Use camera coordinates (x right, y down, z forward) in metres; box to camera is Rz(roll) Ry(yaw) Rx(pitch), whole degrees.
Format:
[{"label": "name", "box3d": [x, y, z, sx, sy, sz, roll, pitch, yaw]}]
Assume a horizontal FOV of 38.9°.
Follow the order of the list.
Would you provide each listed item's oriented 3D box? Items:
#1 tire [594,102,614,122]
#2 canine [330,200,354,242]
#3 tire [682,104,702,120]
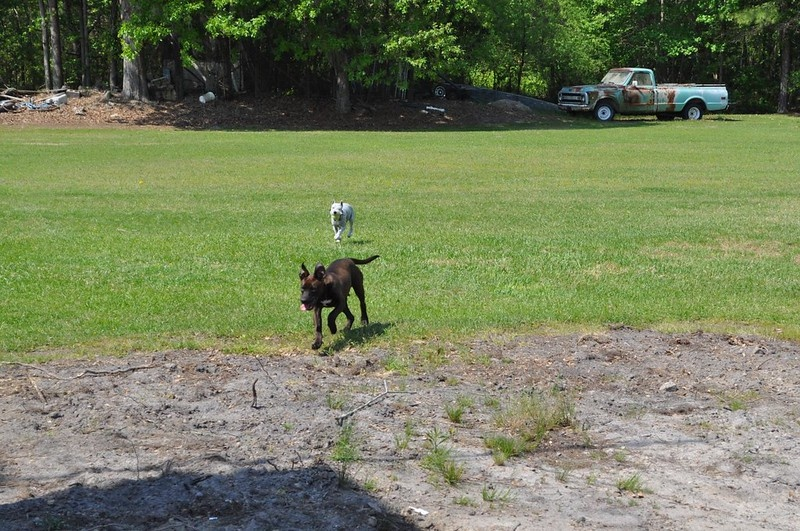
[{"label": "tire", "box3d": [11.277, -8.412, 61.914, 1.007, 0.936, 0.383, 4, 11, 12]}, {"label": "canine", "box3d": [-1.788, -1.395, 34.664, 0.598, 1.203, 2.198, 4, 3, 10]}, {"label": "tire", "box3d": [16.061, -8.371, 61.670, 0.863, 0.798, 0.274, -3, 7, 2]}]
